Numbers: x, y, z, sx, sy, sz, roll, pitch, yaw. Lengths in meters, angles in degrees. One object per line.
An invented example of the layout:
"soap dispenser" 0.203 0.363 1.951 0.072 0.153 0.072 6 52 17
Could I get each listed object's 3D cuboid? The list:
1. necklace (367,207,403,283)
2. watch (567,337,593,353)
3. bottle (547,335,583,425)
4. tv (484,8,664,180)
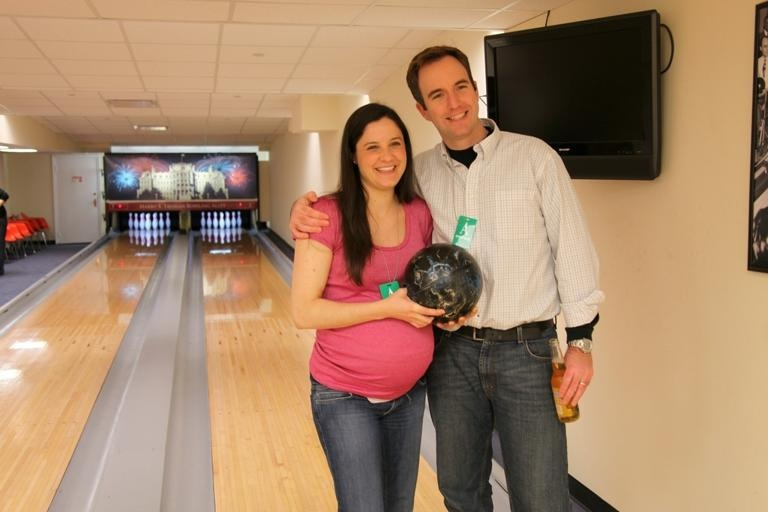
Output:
"necklace" 0.009 -0.037 1.911 0.133 0.260 0.060 1 -11 -7
"watch" 0.728 0.331 1.912 0.072 0.048 0.073 1 -9 8
"bottle" 0.684 0.489 1.979 0.106 0.318 0.132 0 10 -14
"tv" 0.940 -0.766 2.486 0.989 0.871 0.133 5 17 45
